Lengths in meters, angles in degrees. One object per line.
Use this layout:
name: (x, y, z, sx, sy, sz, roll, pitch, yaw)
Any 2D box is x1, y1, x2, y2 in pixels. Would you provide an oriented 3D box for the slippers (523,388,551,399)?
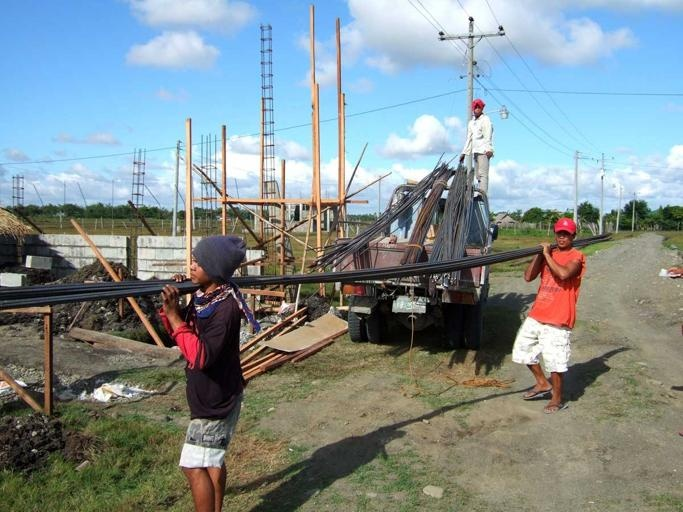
slippers: (2.297, 1.599, 6.336, 0.360, 0.130, 0.132, 0, -6, -14)

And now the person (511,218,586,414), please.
person: (2.404, 0.622, 6.323, 0.687, 2.135, 1.065, 3, 9, 23)

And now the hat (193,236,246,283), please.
hat: (-0.915, 0.021, 4.060, 0.378, 0.342, 0.218, -3, 9, -14)

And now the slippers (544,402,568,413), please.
slippers: (2.395, 1.653, 6.019, 0.329, 0.118, 0.109, 3, -6, -24)

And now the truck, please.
truck: (1.018, 0.502, 7.961, 1.703, 1.896, 3.225, 2, 11, 18)

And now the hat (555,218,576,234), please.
hat: (2.466, -0.317, 6.021, 0.177, 0.146, 0.264, 6, -6, 27)
